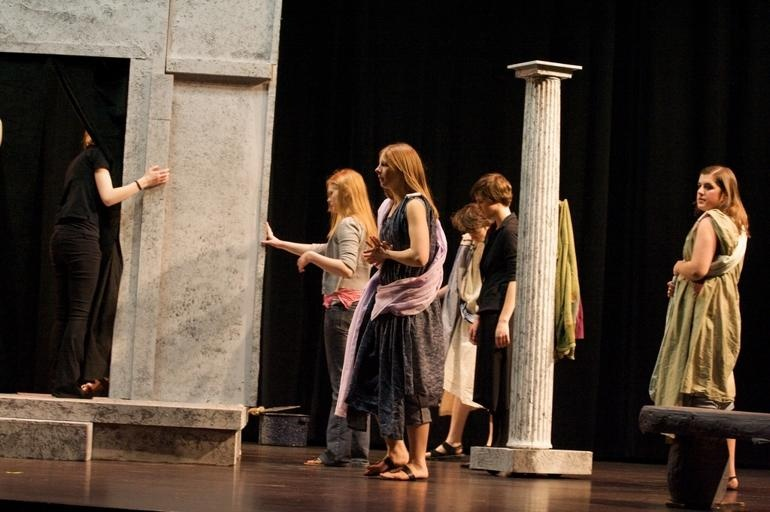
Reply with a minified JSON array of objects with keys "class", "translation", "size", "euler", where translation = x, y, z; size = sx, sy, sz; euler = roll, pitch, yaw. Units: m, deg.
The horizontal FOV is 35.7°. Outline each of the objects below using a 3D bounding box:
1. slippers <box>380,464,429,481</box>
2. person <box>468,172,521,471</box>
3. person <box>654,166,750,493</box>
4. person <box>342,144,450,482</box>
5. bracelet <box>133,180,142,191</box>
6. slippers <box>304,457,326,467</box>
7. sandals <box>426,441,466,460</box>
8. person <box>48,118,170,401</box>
[{"class":"slippers","translation":[0.126,1.413,7.757],"size":[0.288,0.077,0.109],"euler":[4,-12,-7]},{"class":"person","translation":[0.760,0.378,8.675],"size":[0.374,1.990,0.556],"euler":[4,-8,5]},{"class":"person","translation":[2.133,0.196,8.058],"size":[0.568,1.647,0.394],"euler":[3,-8,11]},{"class":"person","translation":[0.075,0.344,7.818],"size":[0.672,2.219,0.509],"euler":[5,-8,0]},{"class":"bracelet","translation":[-1.717,-0.500,8.358],"size":[0.056,0.066,0.084],"euler":[-1,-9,33]},{"class":"slippers","translation":[-0.507,1.470,8.509],"size":[0.131,0.033,0.066],"euler":[2,-4,4]},{"class":"sandals","translation":[0.478,1.545,9.382],"size":[0.337,0.102,0.112],"euler":[3,-7,-21]},{"class":"person","translation":[-2.013,0.051,8.374],"size":[0.667,1.879,0.361],"euler":[6,-8,-11]}]
